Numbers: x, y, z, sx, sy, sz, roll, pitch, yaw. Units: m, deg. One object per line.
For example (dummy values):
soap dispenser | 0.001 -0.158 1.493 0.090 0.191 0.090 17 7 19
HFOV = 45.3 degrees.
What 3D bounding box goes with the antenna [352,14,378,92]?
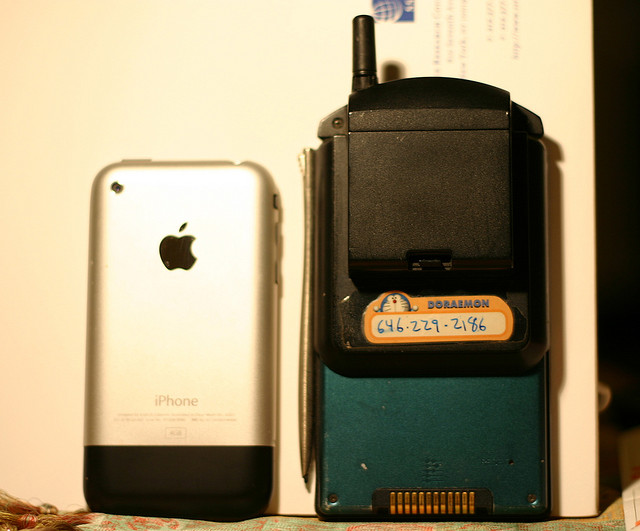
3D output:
antenna | 0.054 -0.264 0.954 0.033 0.087 0.030 -6 16 -12
